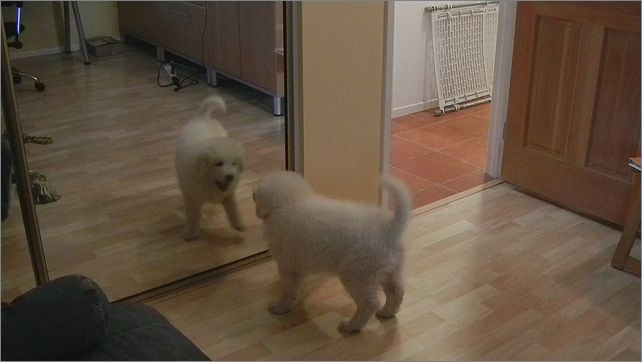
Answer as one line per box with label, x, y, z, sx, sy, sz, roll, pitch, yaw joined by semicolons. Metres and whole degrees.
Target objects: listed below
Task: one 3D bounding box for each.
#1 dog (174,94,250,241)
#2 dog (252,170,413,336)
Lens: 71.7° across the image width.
dog;-0.809;-0.122;3.225;0.454;0.785;0.975;-3;38;-23
dog;0.000;0.404;2.978;1.142;0.946;0.540;11;15;32
